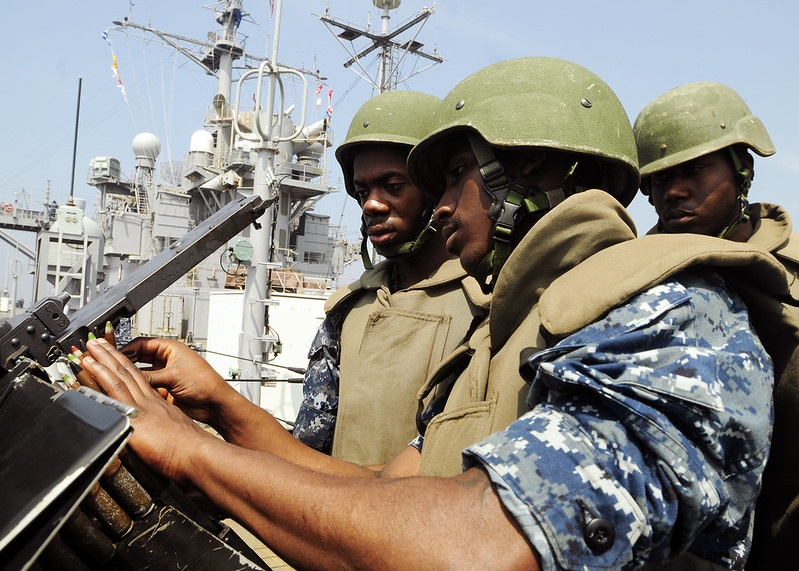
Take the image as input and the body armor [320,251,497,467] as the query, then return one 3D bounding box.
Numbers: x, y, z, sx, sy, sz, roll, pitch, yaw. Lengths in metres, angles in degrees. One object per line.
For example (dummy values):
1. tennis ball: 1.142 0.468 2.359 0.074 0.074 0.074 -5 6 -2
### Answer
1. body armor: 0.014 0.504 4.798 1.228 1.379 0.700 4 -14 26
